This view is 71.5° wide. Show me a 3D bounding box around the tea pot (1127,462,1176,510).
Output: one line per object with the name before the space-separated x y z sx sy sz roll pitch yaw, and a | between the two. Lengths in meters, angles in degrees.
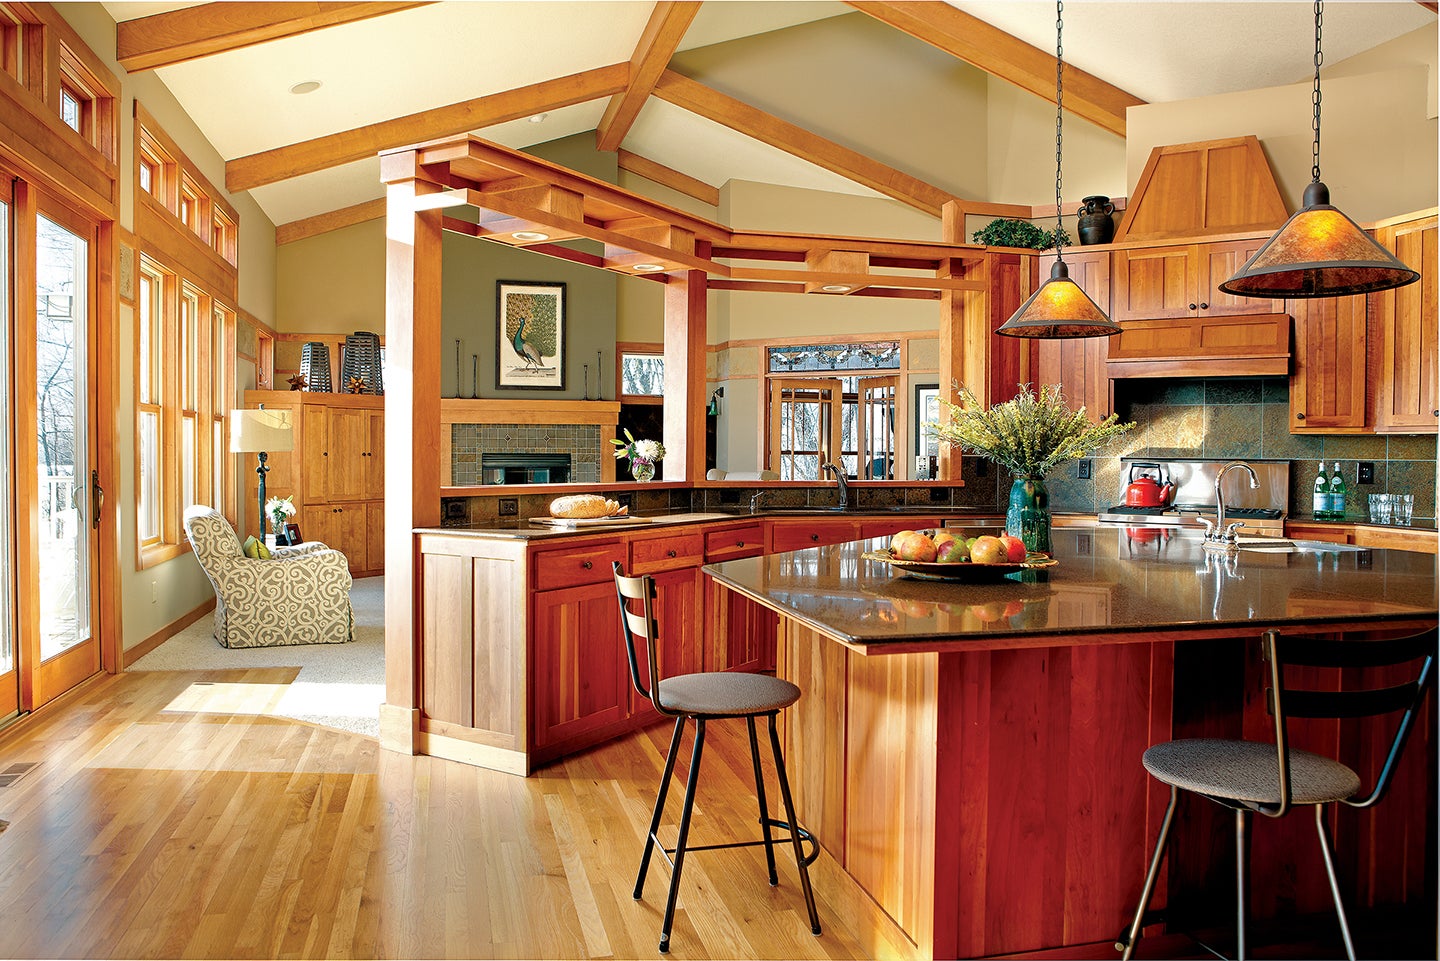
tea pot | 3.111 0.043 7.187 0.370 0.326 0.345 1 -5 0

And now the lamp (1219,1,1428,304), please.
lamp | 2.952 -1.608 4.778 0.696 1.460 2.592 6 13 31

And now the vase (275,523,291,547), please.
vase | -3.745 0.470 8.625 0.187 0.166 0.170 -6 5 -21

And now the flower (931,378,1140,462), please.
flower | 1.356 -0.206 4.464 0.698 0.424 0.804 -6 -6 24

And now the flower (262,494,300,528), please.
flower | -3.927 0.265 8.941 0.347 0.317 0.325 1 -3 -12

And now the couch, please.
couch | -3.692 0.745 7.726 1.444 0.964 1.344 2 -3 -26

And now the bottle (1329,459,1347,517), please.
bottle | 4.259 0.056 6.868 0.118 0.351 0.310 7 13 32

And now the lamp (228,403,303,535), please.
lamp | -3.720 0.002 8.099 0.520 1.145 0.497 -5 -2 3
